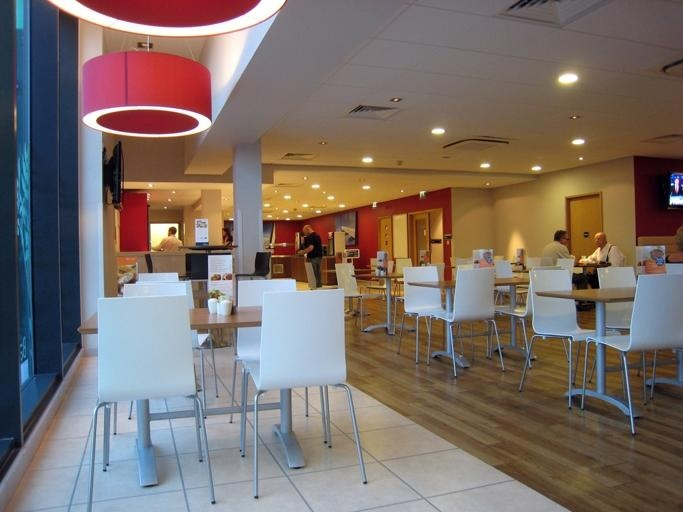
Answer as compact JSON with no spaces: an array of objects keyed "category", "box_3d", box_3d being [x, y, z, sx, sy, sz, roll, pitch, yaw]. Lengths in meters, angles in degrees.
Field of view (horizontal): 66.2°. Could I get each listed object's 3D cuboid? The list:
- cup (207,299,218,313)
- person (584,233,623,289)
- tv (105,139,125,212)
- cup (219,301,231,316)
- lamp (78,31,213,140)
[{"category":"cup","box_3d":[-0.972,0.365,3.935,0.051,0.116,0.126,-6,8,-40]},{"category":"person","box_3d":[4.794,0.334,9.647,0.699,1.476,0.645,3,-9,18]},{"category":"tv","box_3d":[-3.093,-1.118,7.113,0.243,0.908,0.582,-4,7,-24]},{"category":"cup","box_3d":[-0.843,0.372,3.800,0.098,0.113,0.101,0,0,0]},{"category":"lamp","box_3d":[-1.729,-1.469,4.658,1.086,0.676,0.678,-2,6,-8]}]
